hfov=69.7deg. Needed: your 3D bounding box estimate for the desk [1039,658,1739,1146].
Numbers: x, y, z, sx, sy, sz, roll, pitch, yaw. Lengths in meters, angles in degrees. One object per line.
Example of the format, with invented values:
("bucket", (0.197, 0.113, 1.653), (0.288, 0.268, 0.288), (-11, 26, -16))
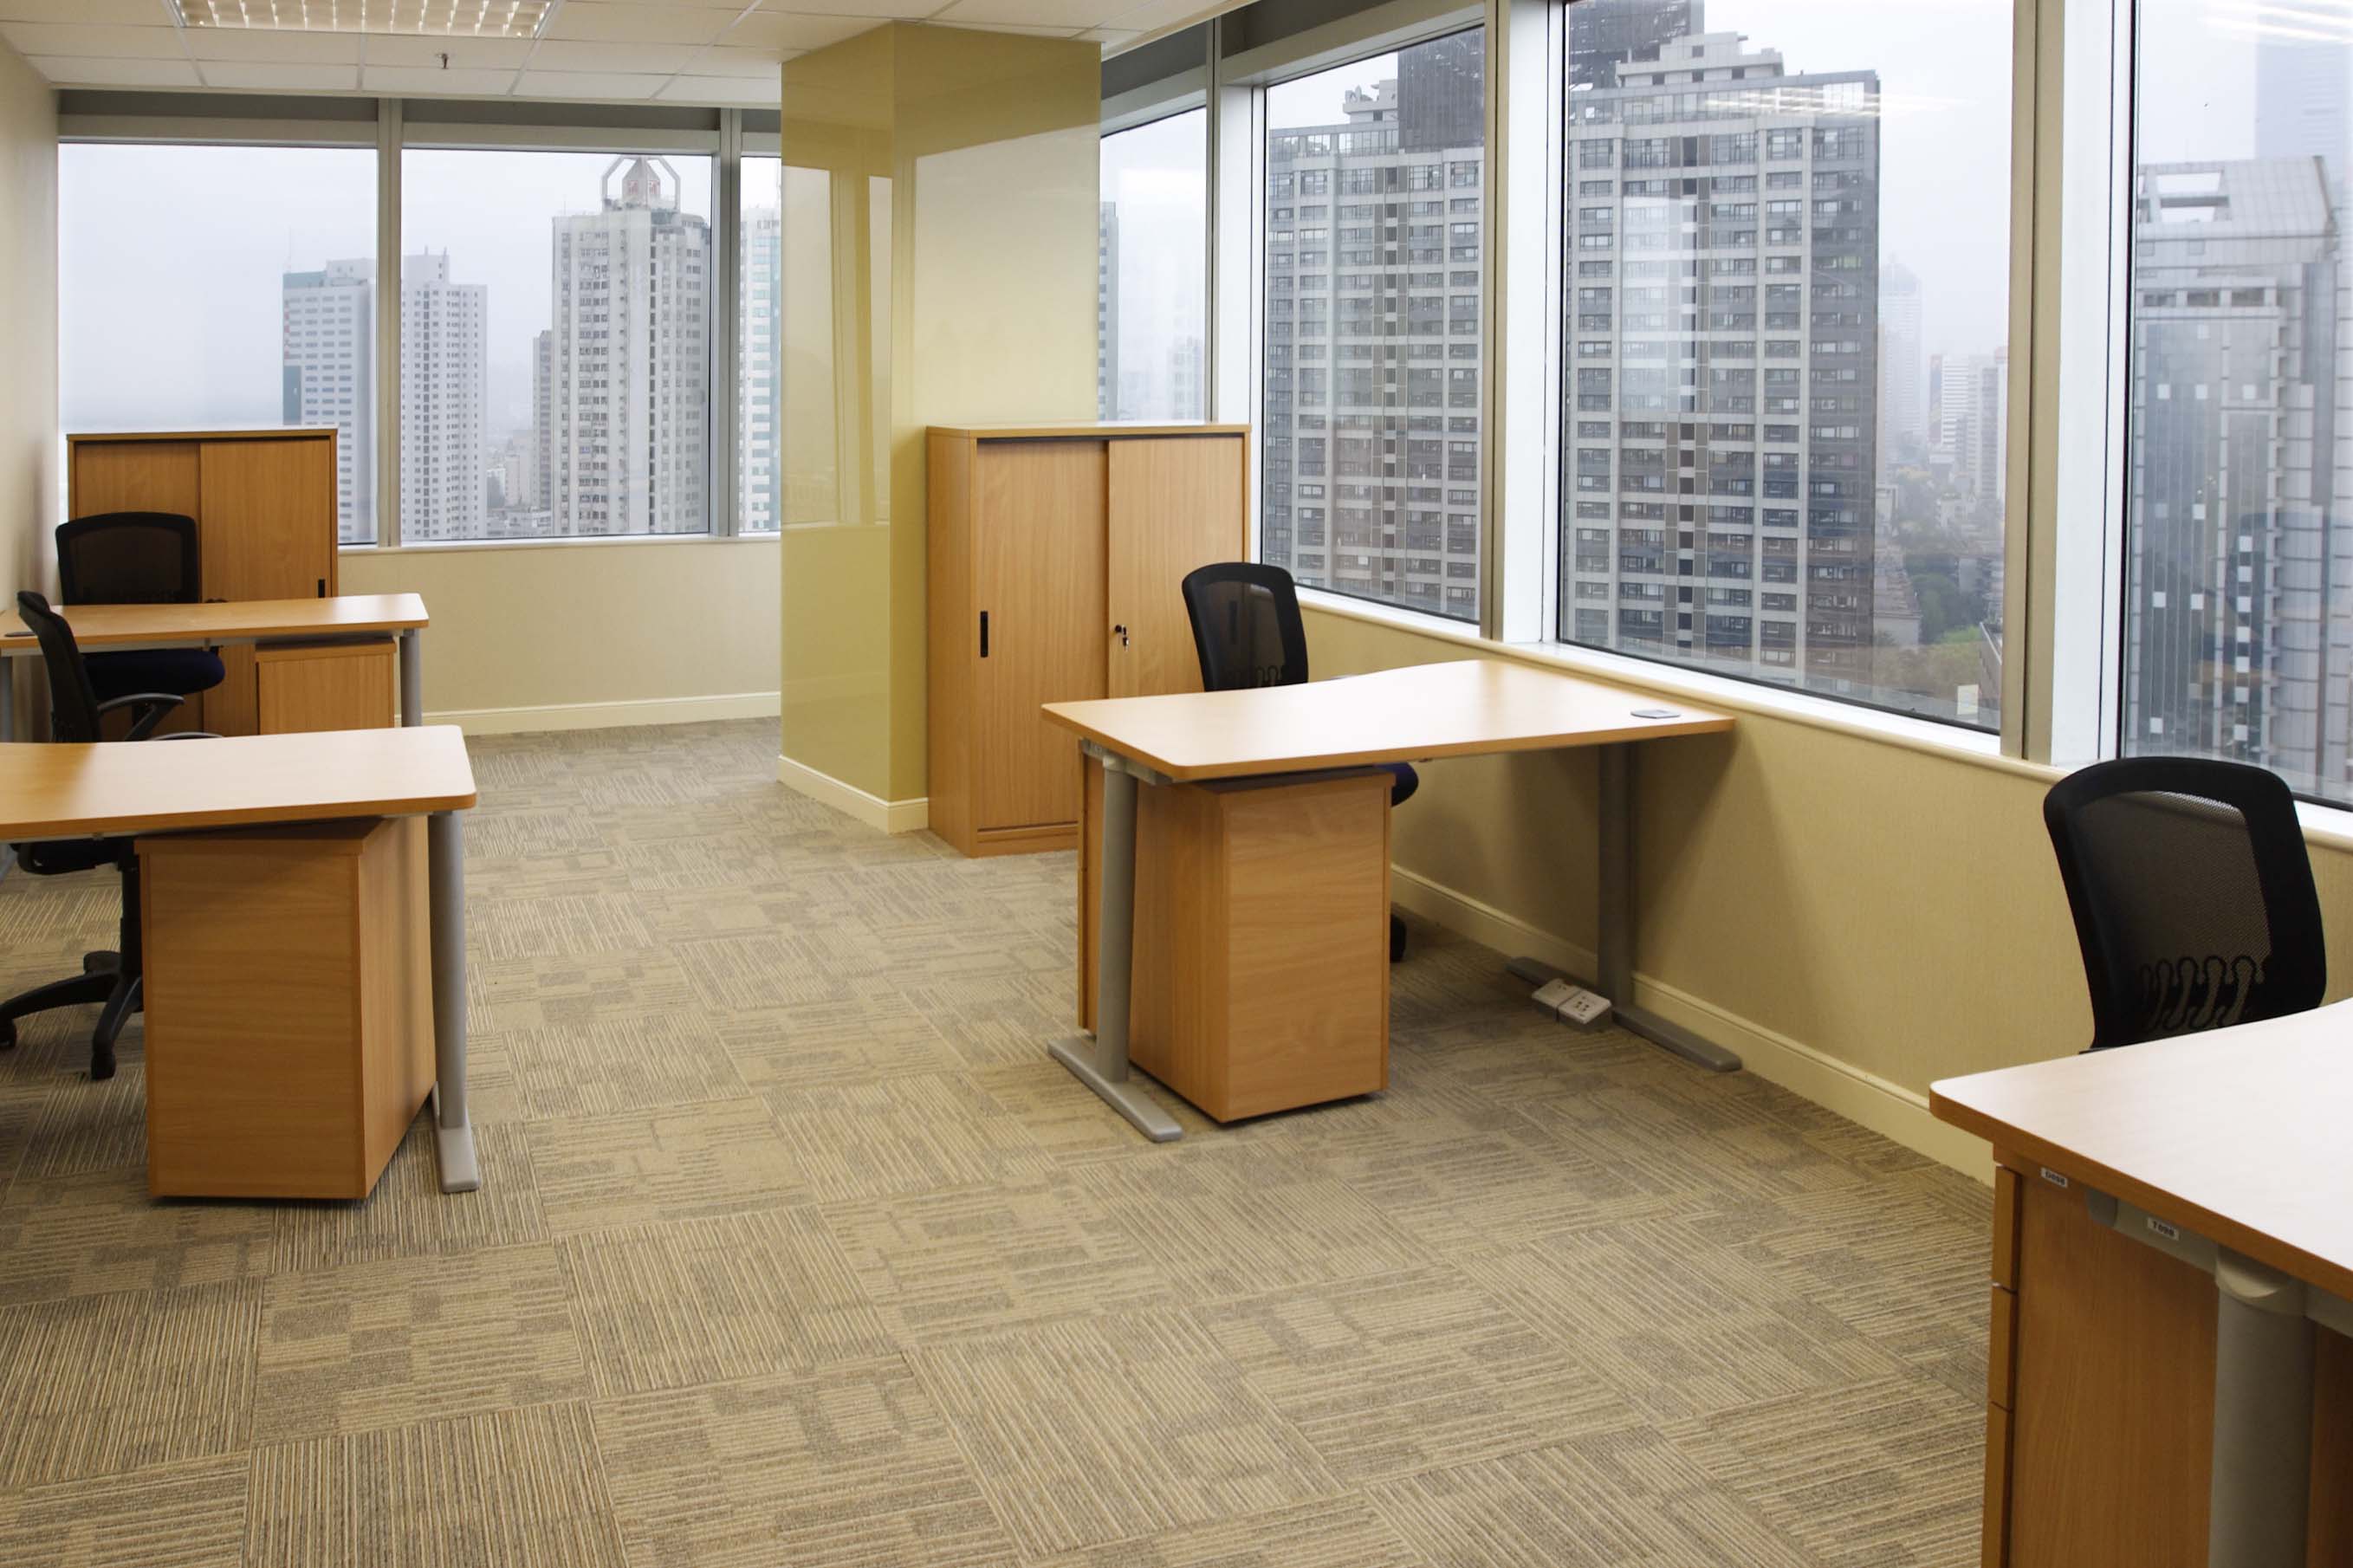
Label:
("desk", (0.583, 0.280, 5.268), (1.956, 1.054, 1.049), (-4, 15, -16))
